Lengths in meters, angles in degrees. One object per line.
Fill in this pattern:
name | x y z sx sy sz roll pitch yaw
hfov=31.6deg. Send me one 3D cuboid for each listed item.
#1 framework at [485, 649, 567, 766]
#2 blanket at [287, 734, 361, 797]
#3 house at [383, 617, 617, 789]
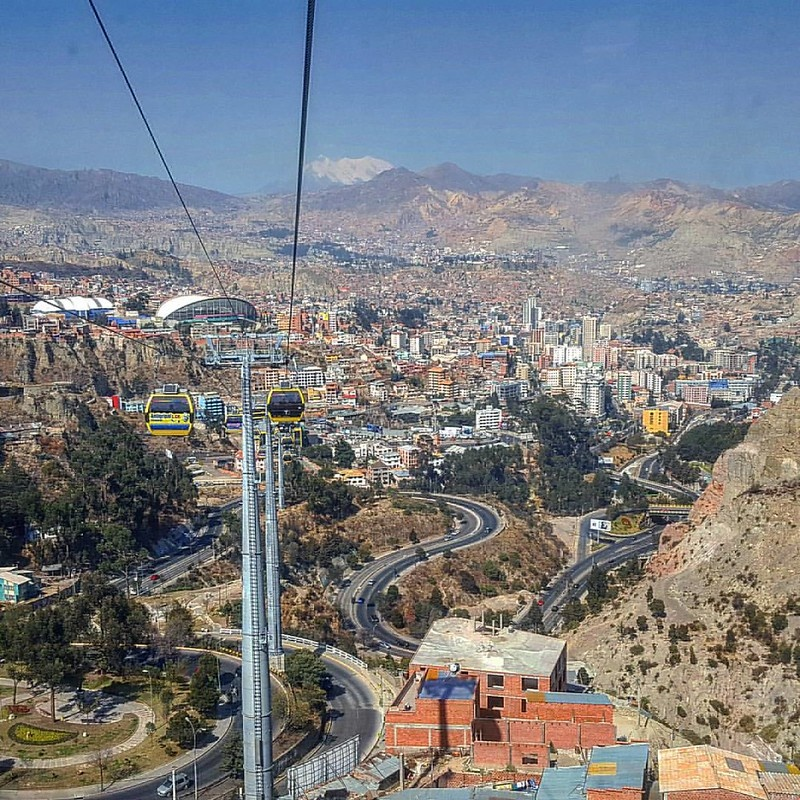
framework | 2.654 6.379 29.267 1.649 0.446 1.977 2 11 9
blanket | -1.581 7.478 28.657 0.720 0.554 2.263 1 5 31
house | 1.893 6.127 30.330 4.527 0.922 4.715 -1 16 -8
